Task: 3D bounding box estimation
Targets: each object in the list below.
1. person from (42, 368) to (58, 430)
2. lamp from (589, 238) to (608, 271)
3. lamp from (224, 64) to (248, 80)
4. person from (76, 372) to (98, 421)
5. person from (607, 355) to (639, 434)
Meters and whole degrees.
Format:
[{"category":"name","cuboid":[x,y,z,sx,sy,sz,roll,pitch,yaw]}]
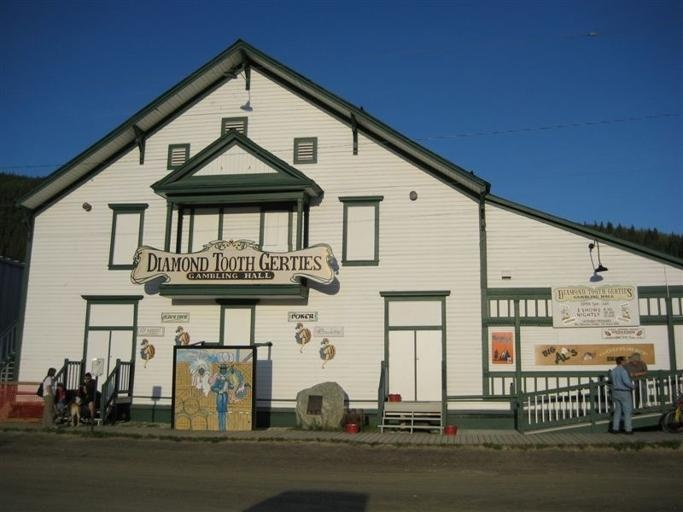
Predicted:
[{"category":"person","cuboid":[-9.974,4.781,26.300,0.416,1.755,1.557,0,-1,-21]},{"category":"lamp","cuboid":[8.669,-0.010,26.164,0.301,1.089,0.547,0,-2,-39]},{"category":"lamp","cuboid":[-3.911,-6.982,29.336,0.749,0.380,0.559,-16,-12,-2]},{"category":"person","cuboid":[-8.646,4.837,26.222,0.608,1.645,1.275,0,-1,-19]},{"category":"person","cuboid":[8.440,4.194,23.298,0.659,2.192,0.935,-1,-1,19]}]
